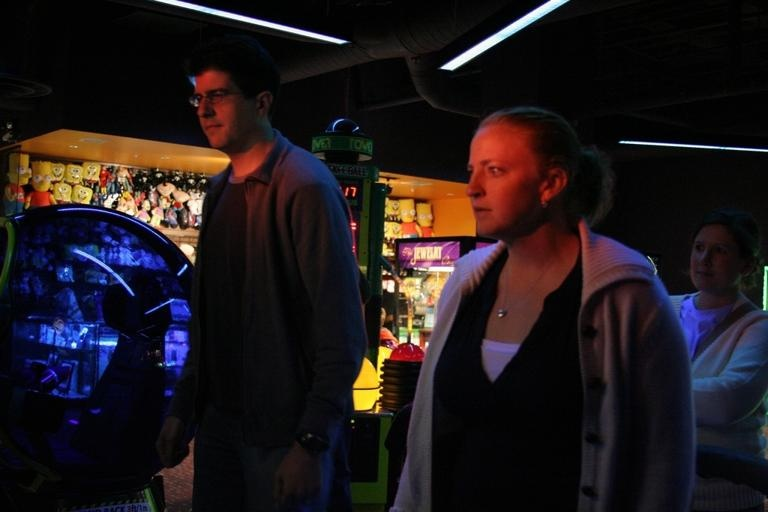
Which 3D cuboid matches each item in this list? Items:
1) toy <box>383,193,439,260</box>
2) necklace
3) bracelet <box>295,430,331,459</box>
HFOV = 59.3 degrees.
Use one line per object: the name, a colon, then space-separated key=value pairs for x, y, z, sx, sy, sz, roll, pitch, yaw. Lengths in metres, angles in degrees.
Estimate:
toy: x=0.396 y=-0.506 z=11.162 sx=1.226 sy=1.059 sz=0.356 roll=5 pitch=-11 yaw=-36
necklace: x=0.484 y=0.085 z=2.231 sx=0.173 sy=0.288 sz=0.093 roll=11 pitch=-11 yaw=31
bracelet: x=-0.225 y=0.611 z=2.172 sx=0.071 sy=0.038 sz=0.094 roll=15 pitch=-5 yaw=-43
